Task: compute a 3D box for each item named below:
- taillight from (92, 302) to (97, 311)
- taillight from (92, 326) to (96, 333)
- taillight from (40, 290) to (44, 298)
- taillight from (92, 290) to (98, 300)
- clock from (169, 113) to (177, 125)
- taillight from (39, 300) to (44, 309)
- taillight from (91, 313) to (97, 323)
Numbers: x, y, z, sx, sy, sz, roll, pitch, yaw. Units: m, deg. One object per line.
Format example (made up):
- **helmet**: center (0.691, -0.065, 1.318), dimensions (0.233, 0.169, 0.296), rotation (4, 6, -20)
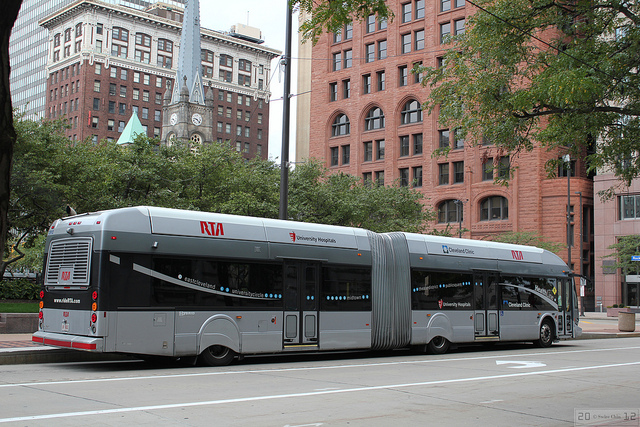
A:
- **taillight**: center (-6.218, 2.529, 19.579), dimensions (0.167, 0.161, 0.040), rotation (-2, -11, 30)
- **taillight**: center (-6.206, 3.158, 19.507), dimensions (0.112, 0.174, 0.028), rotation (2, 3, 13)
- **taillight**: center (-8.321, 2.403, 21.316), dimensions (0.039, 0.204, 0.211), rotation (-1, 3, -41)
- **taillight**: center (-6.209, 2.229, 19.597), dimensions (0.175, 0.241, 0.031), rotation (3, 3, 29)
- **clock**: center (-22.995, -14.732, 111.253), dimensions (0.202, 1.456, 1.429), rotation (-8, 39, -44)
- **taillight**: center (-8.305, 2.718, 21.253), dimensions (0.050, 0.222, 0.236), rotation (-1, 3, -35)
- **taillight**: center (-6.215, 2.849, 19.541), dimensions (0.188, 0.181, 0.045), rotation (-29, -24, 34)
